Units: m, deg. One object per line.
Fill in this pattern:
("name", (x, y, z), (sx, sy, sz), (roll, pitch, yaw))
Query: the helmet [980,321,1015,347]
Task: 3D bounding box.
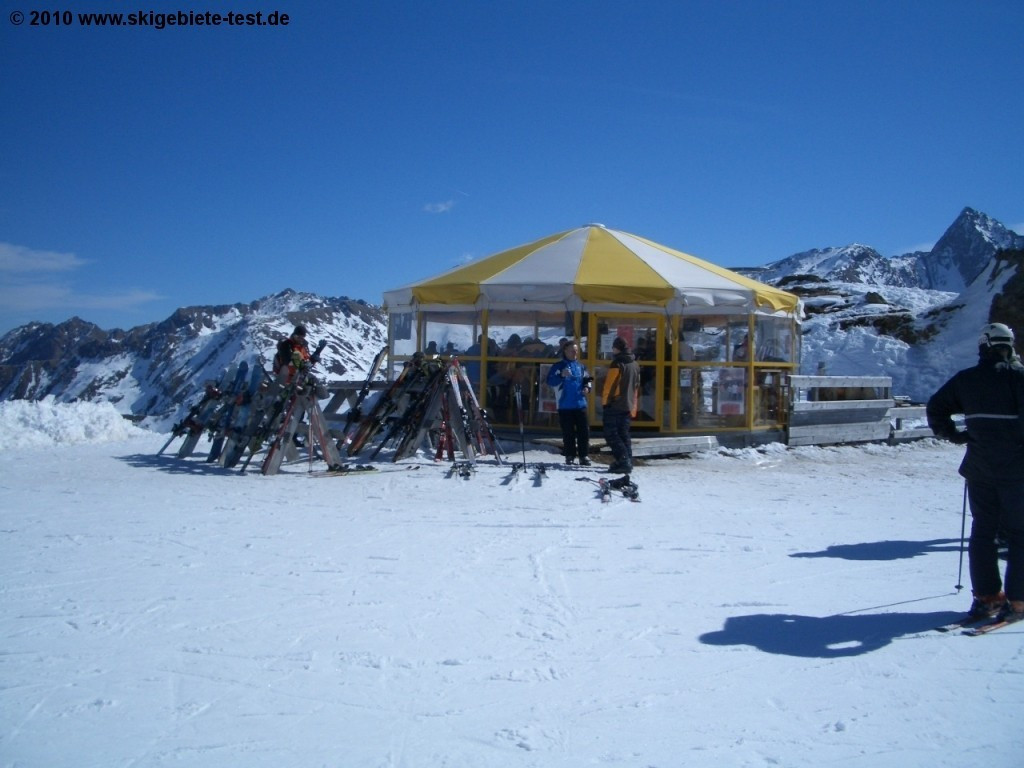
("helmet", (3.731, -0.377, 5.385), (0.179, 0.214, 0.220), (1, -5, 27))
